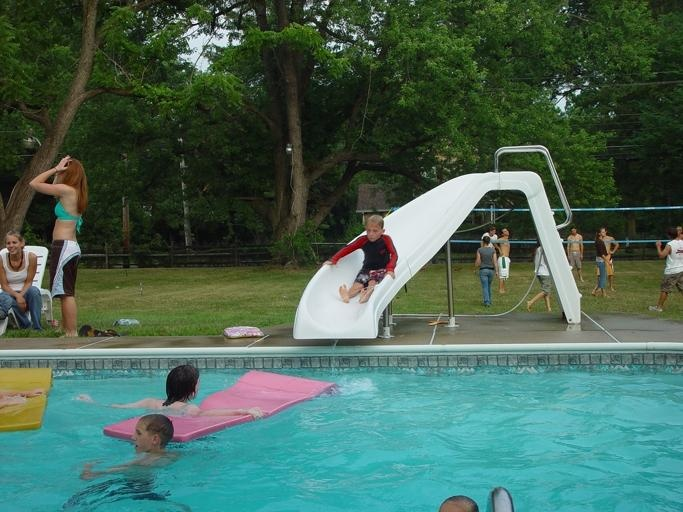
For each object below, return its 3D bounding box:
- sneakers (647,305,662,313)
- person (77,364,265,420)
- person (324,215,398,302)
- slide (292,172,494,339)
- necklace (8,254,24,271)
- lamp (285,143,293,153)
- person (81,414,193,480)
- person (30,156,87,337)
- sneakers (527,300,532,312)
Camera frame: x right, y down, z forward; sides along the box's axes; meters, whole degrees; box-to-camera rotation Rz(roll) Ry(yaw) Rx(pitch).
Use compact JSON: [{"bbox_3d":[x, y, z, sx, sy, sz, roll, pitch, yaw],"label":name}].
[{"bbox_3d":[5.807,0.973,12.825,0.118,0.108,0.242,-4,10,-39],"label":"sneakers"},{"bbox_3d":[-1.839,1.630,7.976,2.172,0.642,0.628,-5,-23,25],"label":"person"},{"bbox_3d":[0.352,0.036,10.167,1.004,1.225,1.268,1,5,30],"label":"person"},{"bbox_3d":[0.613,-0.072,10.221,2.819,2.475,1.579,3,-3,-33],"label":"slide"},{"bbox_3d":[-5.223,0.095,11.062,0.209,0.261,0.067,0,-1,-3],"label":"necklace"},{"bbox_3d":[-2.051,-4.158,26.557,0.292,0.447,0.470,0,-5,5],"label":"lamp"},{"bbox_3d":[-2.195,1.947,7.181,1.190,0.536,0.384,-5,-11,5],"label":"person"},{"bbox_3d":[-4.310,-0.165,10.459,0.806,2.738,0.483,4,-3,-43],"label":"person"},{"bbox_3d":[3.678,0.976,13.554,0.104,0.212,0.068,2,15,-1],"label":"sneakers"}]
